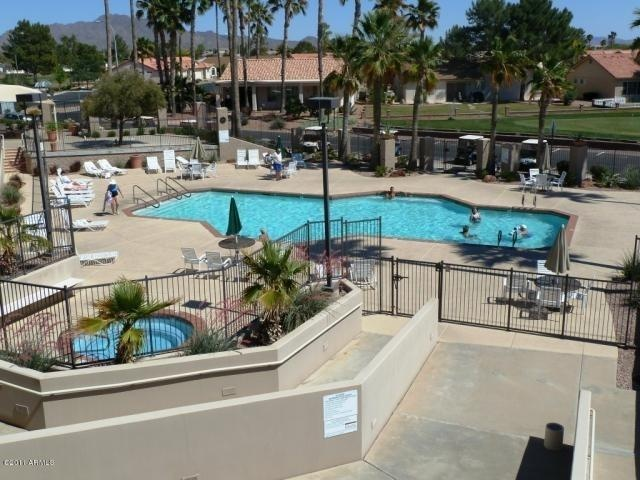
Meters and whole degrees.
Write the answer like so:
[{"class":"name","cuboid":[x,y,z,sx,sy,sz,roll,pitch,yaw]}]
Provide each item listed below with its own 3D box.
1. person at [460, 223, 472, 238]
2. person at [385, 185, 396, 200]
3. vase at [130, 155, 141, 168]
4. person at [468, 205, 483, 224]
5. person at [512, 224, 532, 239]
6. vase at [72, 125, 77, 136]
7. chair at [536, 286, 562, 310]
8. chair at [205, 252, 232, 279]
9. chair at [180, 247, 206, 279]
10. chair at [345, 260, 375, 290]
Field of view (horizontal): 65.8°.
[{"class":"person","cuboid":[6.635,-0.427,22.550,0.531,0.548,1.325,3,11,16]},{"class":"person","cuboid":[4.060,-2.734,28.781,0.623,0.682,0.859,2,11,10]},{"class":"vase","cuboid":[-13.233,-5.652,35.490,0.821,0.864,0.844,22,30,36]},{"class":"person","cuboid":[7.601,-1.183,24.279,0.497,0.720,0.874,5,12,23]},{"class":"person","cuboid":[8.928,-0.429,21.986,0.814,0.441,0.946,17,33,35]},{"class":"vase","cuboid":[-22.480,-10.057,45.488,0.583,0.800,0.418,3,12,16]},{"class":"chair","cuboid":[6.712,1.689,14.474,0.668,0.569,0.441,5,12,25]},{"class":"chair","cuboid":[-3.249,0.835,15.641,0.524,0.741,0.531,7,27,13]},{"class":"chair","cuboid":[-4.214,0.797,16.319,0.630,0.897,0.625,11,24,27]},{"class":"chair","cuboid":[1.415,1.134,16.588,0.941,0.906,1.937,1,11,7]}]
